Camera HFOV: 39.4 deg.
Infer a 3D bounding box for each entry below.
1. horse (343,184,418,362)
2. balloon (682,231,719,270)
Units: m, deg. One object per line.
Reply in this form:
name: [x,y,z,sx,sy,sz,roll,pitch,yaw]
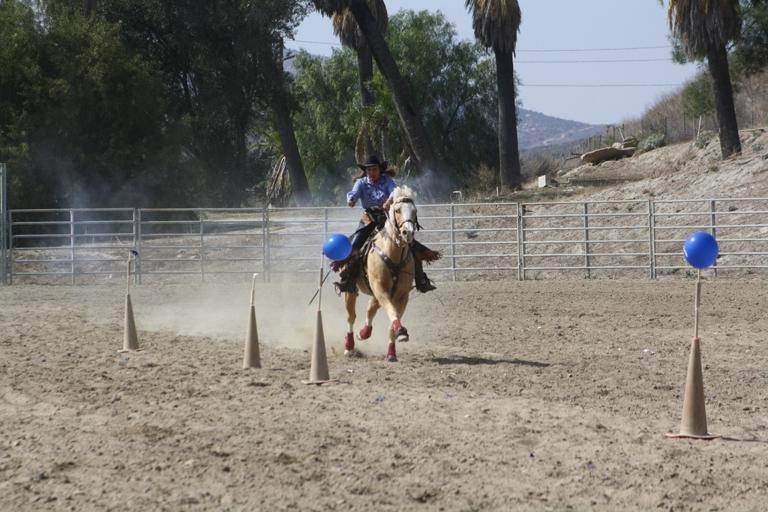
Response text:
horse: [0.021,0.455,28.505,2.122,4.613,0.749,0,-1,38]
balloon: [7.565,-0.129,25.711,0.726,0.907,0.388,0,-1,17]
